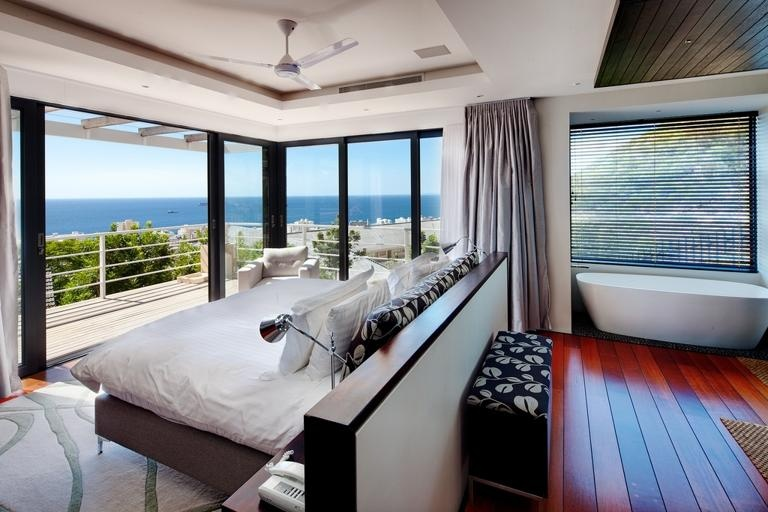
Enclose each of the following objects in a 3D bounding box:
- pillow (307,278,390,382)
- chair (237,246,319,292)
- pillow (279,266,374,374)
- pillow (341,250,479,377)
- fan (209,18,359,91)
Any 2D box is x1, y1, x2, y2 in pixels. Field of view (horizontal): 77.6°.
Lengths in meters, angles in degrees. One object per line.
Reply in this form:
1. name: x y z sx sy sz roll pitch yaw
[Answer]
1. pillow: -0.261 0.550 3.407 0.228 0.433 0.653 14 15 24
2. chair: -1.470 0.346 6.790 1.074 0.821 1.006 0 10 7
3. pillow: -0.479 0.517 3.785 0.220 0.449 0.703 21 17 19
4. pillow: 0.231 0.437 3.587 0.199 0.275 1.051 26 29 24
5. fan: -0.939 -2.015 4.758 1.168 0.436 1.089 2 0 32
